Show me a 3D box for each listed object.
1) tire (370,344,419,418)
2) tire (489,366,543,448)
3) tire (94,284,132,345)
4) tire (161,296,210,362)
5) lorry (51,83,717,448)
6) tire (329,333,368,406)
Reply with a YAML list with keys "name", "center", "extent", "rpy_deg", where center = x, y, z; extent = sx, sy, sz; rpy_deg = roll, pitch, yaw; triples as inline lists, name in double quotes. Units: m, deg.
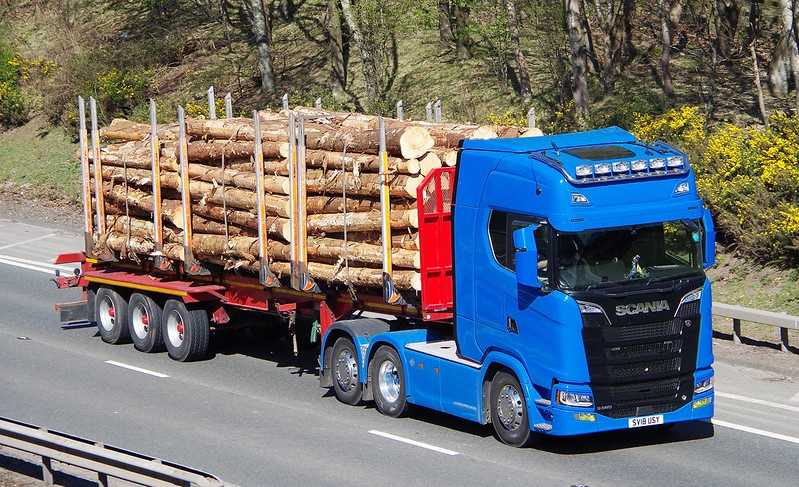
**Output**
- name: "tire"
  center: [-0.091, 3.077, 25.794]
  extent: [1.517, 1.834, 0.524]
  rpy_deg: [4, 5, 38]
- name: "tire"
  center: [2.534, 3.461, 24.242]
  extent: [0.690, 2.022, 1.611]
  rpy_deg: [-4, 7, -40]
- name: "tire"
  center: [-7.719, 1.929, 30.648]
  extent: [0.457, 1.323, 1.279]
  rpy_deg: [-5, 19, -35]
- name: "tire"
  center: [-5.485, 2.192, 29.198]
  extent: [0.577, 1.715, 1.538]
  rpy_deg: [-8, 7, -37]
- name: "lorry"
  center: [-1.602, 0.349, 29.089]
  extent: [17.921, 6.765, 6.519]
  rpy_deg: [8, 12, 43]
- name: "tire"
  center: [-1.163, 2.904, 26.357]
  extent: [0.393, 1.773, 1.479]
  rpy_deg: [-8, 11, -41]
